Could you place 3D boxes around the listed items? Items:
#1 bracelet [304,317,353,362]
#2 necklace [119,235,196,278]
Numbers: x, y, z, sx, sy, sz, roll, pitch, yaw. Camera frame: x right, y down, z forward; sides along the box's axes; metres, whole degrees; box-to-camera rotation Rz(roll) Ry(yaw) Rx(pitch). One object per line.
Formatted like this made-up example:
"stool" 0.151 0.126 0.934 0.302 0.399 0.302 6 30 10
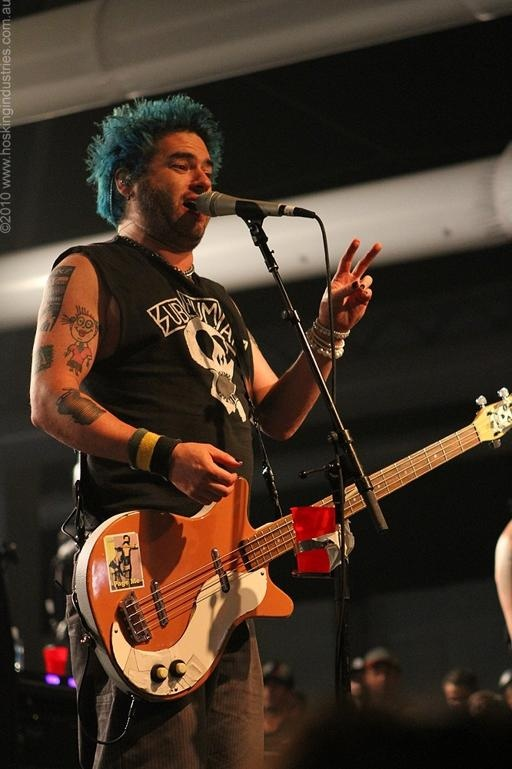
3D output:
"bracelet" 0.225 -0.121 2.612 0.125 0.065 0.132 36 7 -25
"necklace" -0.262 -0.344 2.521 0.183 0.034 0.111 32 -1 -15
